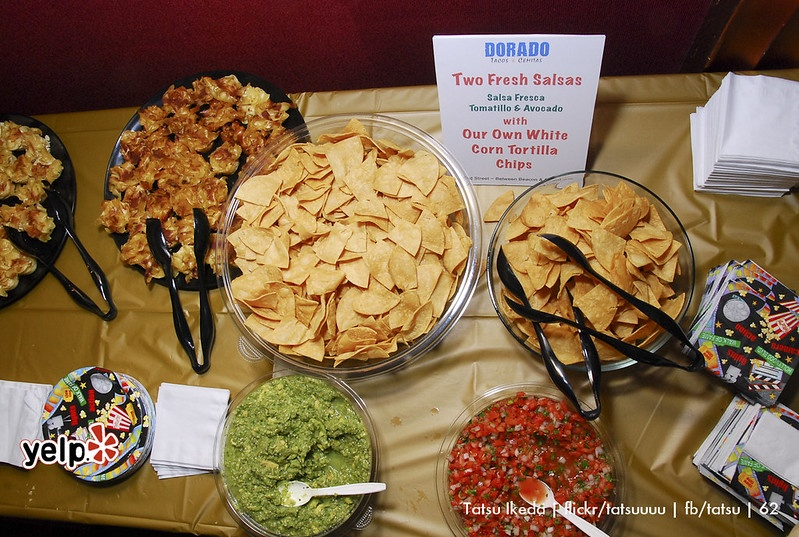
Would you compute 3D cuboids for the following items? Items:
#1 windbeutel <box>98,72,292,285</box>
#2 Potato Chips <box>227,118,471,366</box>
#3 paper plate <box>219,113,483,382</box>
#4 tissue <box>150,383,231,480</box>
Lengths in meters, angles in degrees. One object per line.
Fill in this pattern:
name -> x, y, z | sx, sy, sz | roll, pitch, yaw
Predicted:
windbeutel -> -0.704, -0.265, 2.090 | 0.682, 0.097, 0.717 | -1, 85, 17
Potato Chips -> -0.161, -0.069, 1.971 | 0.738, 0.248, 0.767 | -1, 85, 6
paper plate -> -0.173, -0.053, 1.847 | 0.789, 0.273, 0.824 | 2, 89, 6
tissue -> -0.669, 0.509, 1.939 | 0.268, 0.070, 0.277 | 3, 85, 5
